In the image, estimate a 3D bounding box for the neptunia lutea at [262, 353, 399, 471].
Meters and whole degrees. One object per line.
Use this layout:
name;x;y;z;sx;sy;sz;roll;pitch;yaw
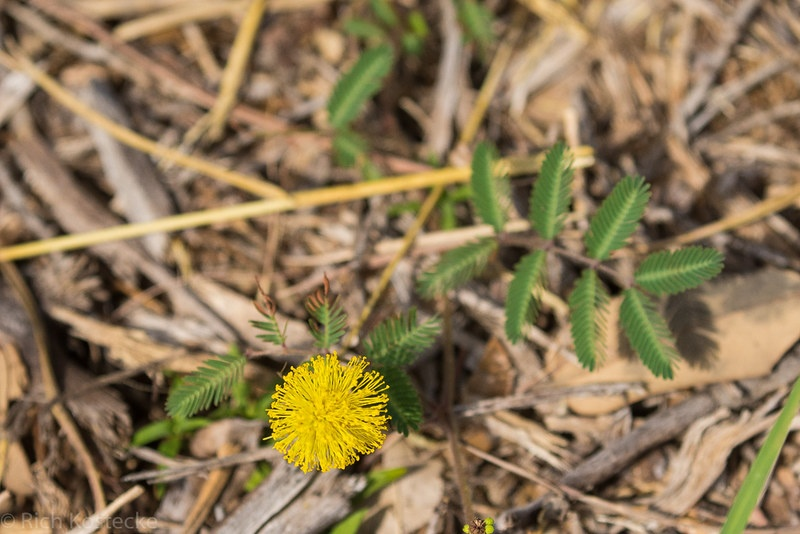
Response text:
neptunia lutea;-0.289;0.567;3.708;0.481;0.420;0.443;-6;74;-7
